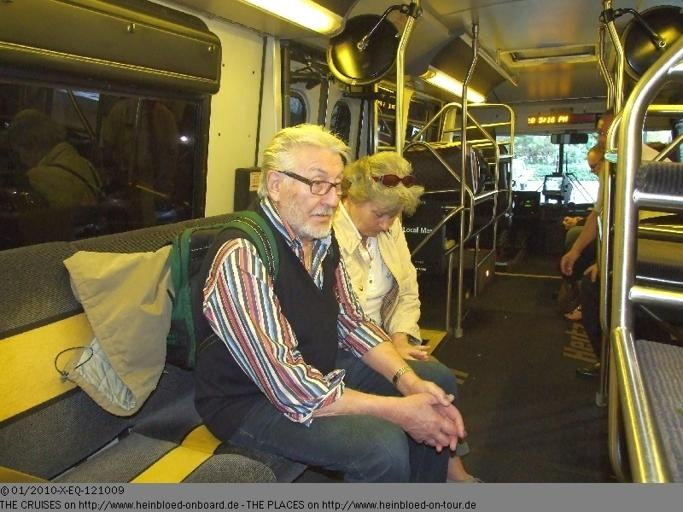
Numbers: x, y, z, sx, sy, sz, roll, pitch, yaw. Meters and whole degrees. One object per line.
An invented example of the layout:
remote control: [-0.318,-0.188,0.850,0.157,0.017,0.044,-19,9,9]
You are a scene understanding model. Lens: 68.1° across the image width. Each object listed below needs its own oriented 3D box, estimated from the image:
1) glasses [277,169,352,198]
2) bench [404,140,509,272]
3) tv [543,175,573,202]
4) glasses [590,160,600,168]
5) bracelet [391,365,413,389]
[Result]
glasses: [-0.135,-0.340,2.297,0.157,0.047,0.157,31,16,25]
bench: [1.222,-0.564,5.411,0.547,0.938,1.877,-1,4,17]
tv: [4.354,-1.362,10.324,0.497,0.591,0.741,2,2,25]
glasses: [2.479,-0.905,4.944,0.038,0.057,0.058,-12,40,-9]
bracelet: [0.280,0.564,2.426,0.083,0.084,0.086,41,49,15]
